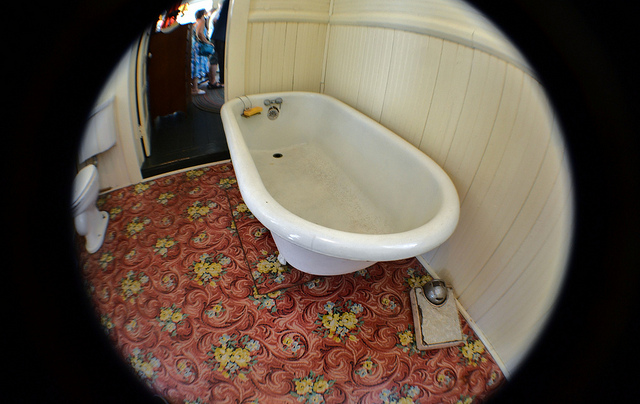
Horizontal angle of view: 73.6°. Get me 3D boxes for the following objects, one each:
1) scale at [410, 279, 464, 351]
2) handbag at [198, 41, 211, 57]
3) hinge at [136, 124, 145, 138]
[{"bbox_3d":[0.542,0.502,1.965,0.187,0.110,0.279,-1,50,2],"label":"scale"},{"bbox_3d":[-0.684,-0.908,2.545,0.049,0.027,0.075,-28,81,-16],"label":"handbag"},{"bbox_3d":[-1.052,-0.416,2.522,0.034,0.020,0.056,-25,79,-28],"label":"hinge"}]
